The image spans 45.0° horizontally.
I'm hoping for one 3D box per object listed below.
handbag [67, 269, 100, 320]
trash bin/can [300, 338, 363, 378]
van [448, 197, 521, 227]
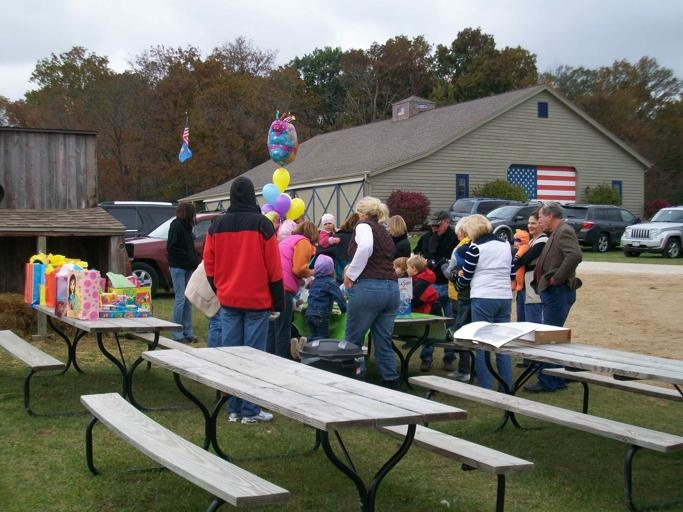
[{"bbox_3d":[-2.921,0.461,9.360,0.184,0.509,0.523,-1,4,-37],"label":"handbag"},{"bbox_3d":[-0.058,1.177,9.609,0.660,0.456,0.714,-3,6,-39],"label":"trash bin/can"},{"bbox_3d":[4.097,-1.105,25.223,2.369,1.145,2.388,2,7,42],"label":"van"}]
